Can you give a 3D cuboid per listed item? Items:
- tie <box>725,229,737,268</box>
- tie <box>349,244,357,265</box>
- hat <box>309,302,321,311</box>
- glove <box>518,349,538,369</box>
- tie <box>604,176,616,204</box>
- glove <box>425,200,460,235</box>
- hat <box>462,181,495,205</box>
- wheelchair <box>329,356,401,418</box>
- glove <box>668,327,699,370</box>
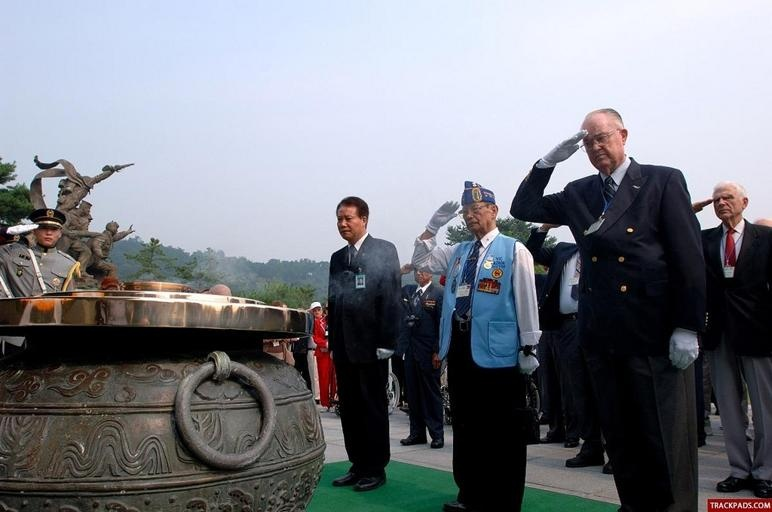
[{"bbox_3d":[2.585,-0.061,4.483,0.074,0.305,0.135,0,-8,30],"label":"tie"},{"bbox_3d":[-0.237,-0.017,4.530,0.076,0.129,0.032,-8,-9,41],"label":"tie"},{"bbox_3d":[-1.083,0.786,9.298,0.191,0.079,0.246,1,-9,-5],"label":"hat"},{"bbox_3d":[0.889,0.649,3.721,0.120,0.121,0.104,1,-7,4],"label":"glove"},{"bbox_3d":[1.267,-0.379,3.375,0.045,0.125,0.095,7,-4,-15],"label":"tie"},{"bbox_3d":[0.424,-0.296,4.446,0.222,0.265,0.521,3,-7,4],"label":"glove"},{"bbox_3d":[0.613,-0.413,3.921,0.201,0.151,0.217,3,-7,6],"label":"hat"},{"bbox_3d":[-0.207,1.865,8.421,0.973,0.909,0.981,-8,-11,30],"label":"wheelchair"},{"bbox_3d":[1.543,0.485,3.097,0.129,0.213,0.217,1,-8,25],"label":"glove"}]
